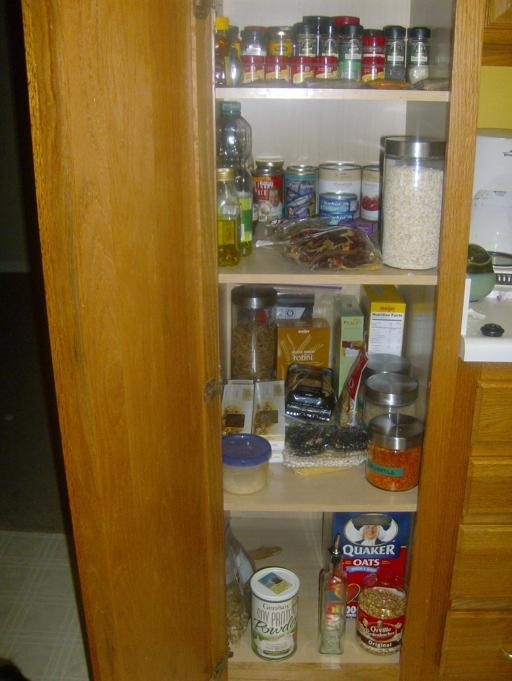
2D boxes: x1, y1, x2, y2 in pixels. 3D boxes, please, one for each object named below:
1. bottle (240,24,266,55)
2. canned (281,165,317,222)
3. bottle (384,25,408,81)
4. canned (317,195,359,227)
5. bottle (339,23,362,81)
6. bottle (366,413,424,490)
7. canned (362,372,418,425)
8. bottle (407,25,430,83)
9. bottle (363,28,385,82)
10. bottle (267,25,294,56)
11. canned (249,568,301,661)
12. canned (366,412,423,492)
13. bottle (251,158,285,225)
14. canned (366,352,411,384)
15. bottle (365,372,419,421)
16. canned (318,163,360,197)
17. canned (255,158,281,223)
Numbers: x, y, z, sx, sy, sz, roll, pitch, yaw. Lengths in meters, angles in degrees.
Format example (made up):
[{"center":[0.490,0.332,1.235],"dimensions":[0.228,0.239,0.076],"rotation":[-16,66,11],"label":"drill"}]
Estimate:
[{"center":[0.000,-0.488,0.907],"dimensions":[0.041,0.049,0.044],"rotation":[5,21,14],"label":"bottle"},{"center":[0.100,-0.322,1.195],"dimensions":[0.064,0.109,0.063],"rotation":[-22,35,-34],"label":"canned"},{"center":[0.232,-0.480,0.927],"dimensions":[0.033,0.087,0.034],"rotation":[-4,26,2],"label":"bottle"},{"center":[0.166,-0.267,1.113],"dimensions":[0.064,0.046,0.070],"rotation":[2,23,2],"label":"canned"},{"center":[0.158,-0.479,0.916],"dimensions":[0.044,0.085,0.049],"rotation":[-5,38,2],"label":"bottle"},{"center":[0.247,0.214,1.091],"dimensions":[0.118,0.149,0.129],"rotation":[-1,18,0],"label":"bottle"},{"center":[0.259,0.111,1.118],"dimensions":[0.090,0.115,0.102],"rotation":[0,14,0],"label":"canned"},{"center":[0.269,-0.472,0.926],"dimensions":[0.033,0.094,0.036],"rotation":[0,5,0],"label":"bottle"},{"center":[0.193,-0.465,0.915],"dimensions":[0.051,0.071,0.055],"rotation":[-2,16,1],"label":"bottle"},{"center":[0.040,-0.494,0.916],"dimensions":[0.043,0.054,0.047],"rotation":[-1,13,-4],"label":"bottle"},{"center":[0.041,0.592,1.206],"dimensions":[0.094,0.157,0.105],"rotation":[5,12,25],"label":"canned"},{"center":[0.271,0.222,1.087],"dimensions":[0.114,0.113,0.124],"rotation":[-1,11,10],"label":"canned"},{"center":[0.030,-0.329,1.216],"dimensions":[0.096,0.134,0.104],"rotation":[-1,26,0],"label":"bottle"},{"center":[0.280,0.053,1.163],"dimensions":[0.056,0.039,0.061],"rotation":[-1,19,-3],"label":"canned"},{"center":[0.261,0.105,1.097],"dimensions":[0.083,0.103,0.092],"rotation":[0,11,-1],"label":"bottle"},{"center":[0.171,-0.330,1.128],"dimensions":[0.066,0.079,0.069],"rotation":[4,21,7],"label":"canned"},{"center":[0.030,-0.325,1.212],"dimensions":[0.089,0.126,0.098],"rotation":[2,15,9],"label":"canned"}]
